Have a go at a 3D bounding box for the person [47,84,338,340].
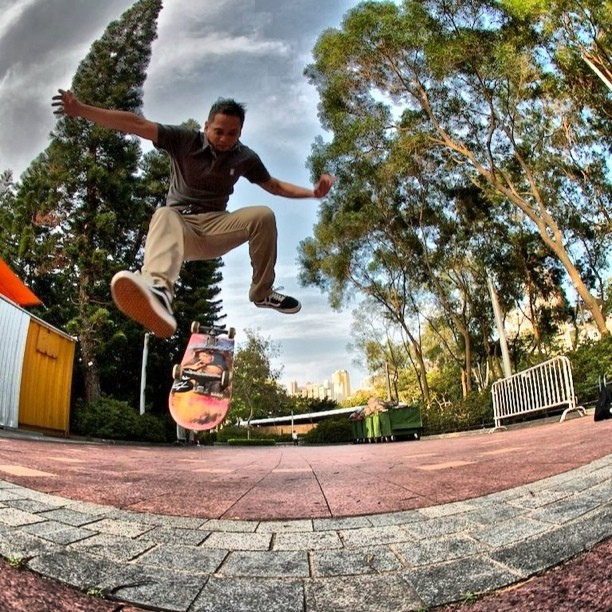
[{"bbox_3d":[-0.775,-0.599,3.260,1.697,1.645,0.808,1,-11,-22],"label":"person"}]
